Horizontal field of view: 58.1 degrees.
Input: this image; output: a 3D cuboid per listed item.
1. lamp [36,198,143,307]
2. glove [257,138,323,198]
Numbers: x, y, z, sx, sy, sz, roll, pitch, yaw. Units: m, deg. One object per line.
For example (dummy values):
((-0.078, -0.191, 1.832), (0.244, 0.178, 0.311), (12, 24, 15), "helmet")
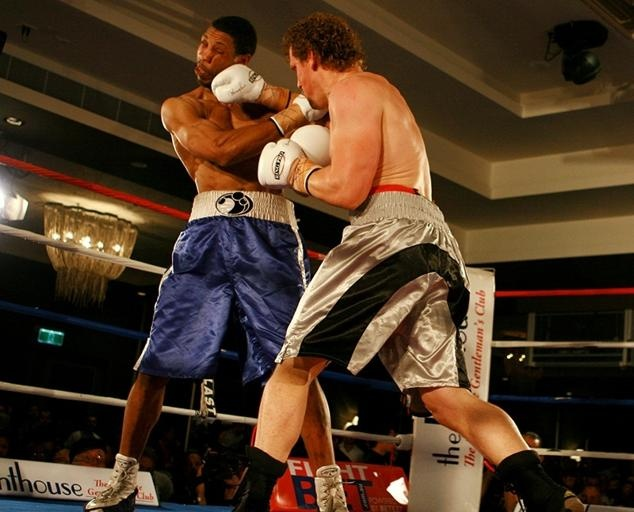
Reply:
((-2.876, -0.083, 7.064), (1.265, 1.086, 1.134), (13, 13, -15), "lamp")
((-0.100, -0.257, 1.666), (0.204, 0.130, 0.092), (4, -15, 18), "glove")
